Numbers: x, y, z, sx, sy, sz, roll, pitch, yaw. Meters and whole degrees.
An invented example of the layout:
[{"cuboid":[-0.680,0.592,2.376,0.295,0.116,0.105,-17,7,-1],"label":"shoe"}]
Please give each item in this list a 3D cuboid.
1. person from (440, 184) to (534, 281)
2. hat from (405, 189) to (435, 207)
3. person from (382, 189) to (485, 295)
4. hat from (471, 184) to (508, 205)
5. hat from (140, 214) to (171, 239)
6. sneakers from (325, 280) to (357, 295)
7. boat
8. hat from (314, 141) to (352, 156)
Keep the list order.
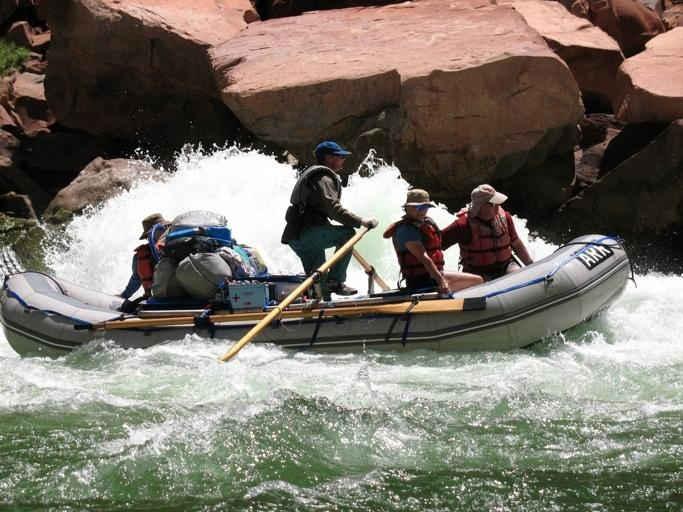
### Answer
[{"cuboid":[1.720,-0.205,10.125,1.153,1.226,0.710,-5,31,5],"label":"person"},{"cuboid":[0.903,-0.644,9.560,0.260,0.113,0.236,4,2,-6],"label":"hat"},{"cuboid":[1.045,-0.159,9.782,1.087,1.270,0.896,-5,5,16],"label":"person"},{"cuboid":[1.761,-0.709,9.939,0.390,0.161,0.245,-1,18,6],"label":"hat"},{"cuboid":[-2.516,-0.433,11.105,0.342,0.199,0.386,-26,2,26],"label":"hat"},{"cuboid":[-0.018,0.392,10.041,0.408,0.177,0.144,5,20,-17],"label":"sneakers"},{"cuboid":[-0.376,0.688,9.905,5.380,0.963,2.679,-2,2,7],"label":"boat"},{"cuboid":[-0.097,-1.291,10.173,0.442,0.149,0.272,-2,8,-8],"label":"hat"}]
